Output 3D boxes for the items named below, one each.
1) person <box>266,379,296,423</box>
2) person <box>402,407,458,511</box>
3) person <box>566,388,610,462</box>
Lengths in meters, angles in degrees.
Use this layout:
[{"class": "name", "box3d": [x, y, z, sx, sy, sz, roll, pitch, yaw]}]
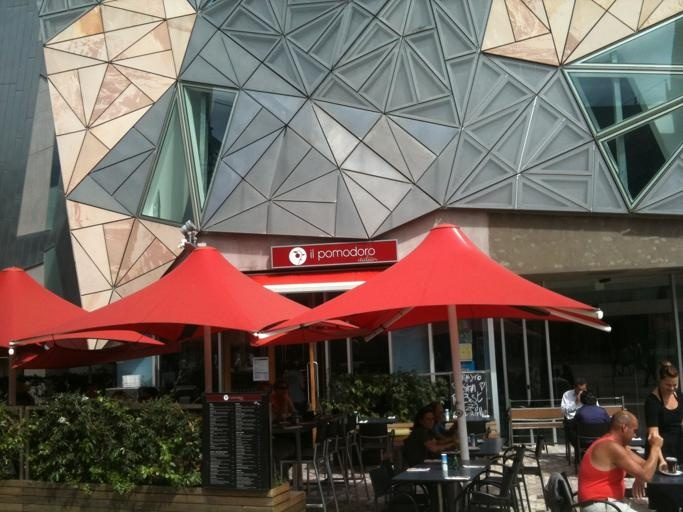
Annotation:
[{"class": "person", "box3d": [-1.370, 3.427, 18.971, 0.653, 1.089, 0.605, 0, 17, 14]}, {"class": "person", "box3d": [1.754, 3.810, 15.634, 0.948, 1.729, 0.642, -2, 10, 7]}, {"class": "person", "box3d": [5.715, 3.868, 18.022, 0.873, 1.622, 0.983, -6, 9, -1]}]
